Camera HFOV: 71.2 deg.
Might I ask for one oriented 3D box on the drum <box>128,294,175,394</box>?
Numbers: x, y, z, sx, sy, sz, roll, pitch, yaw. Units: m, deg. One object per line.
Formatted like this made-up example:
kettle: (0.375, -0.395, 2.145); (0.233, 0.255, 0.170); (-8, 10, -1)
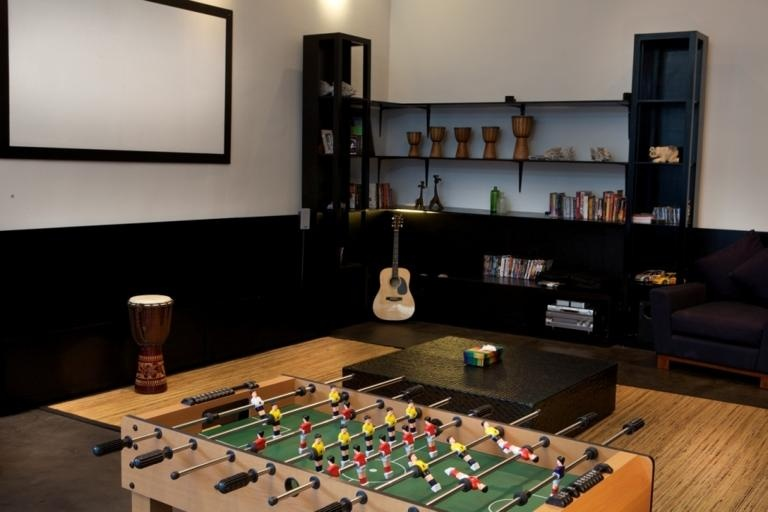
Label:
drum: (-2.091, 0.801, 4.807); (0.360, 0.869, 0.199); (-2, 9, -21)

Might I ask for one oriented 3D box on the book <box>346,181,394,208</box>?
book: (-0.167, -0.816, 7.197); (0.535, 0.392, 0.511); (1, 2, -5)

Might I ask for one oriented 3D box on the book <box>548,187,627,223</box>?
book: (2.487, -0.630, 6.603); (0.882, 0.368, 0.430); (4, 9, 16)

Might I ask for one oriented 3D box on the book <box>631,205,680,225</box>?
book: (3.160, -0.450, 6.175); (0.355, 0.131, 0.272); (2, 3, 41)
